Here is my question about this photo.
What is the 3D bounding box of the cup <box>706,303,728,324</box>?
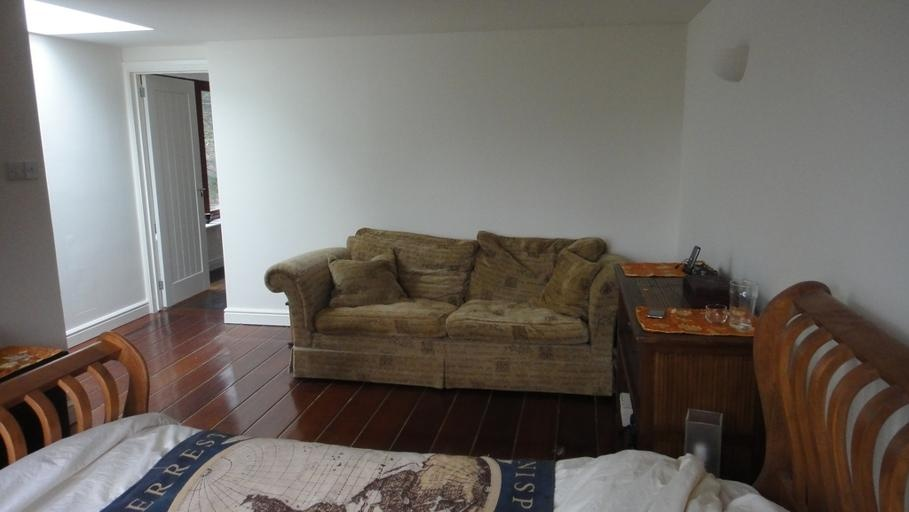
[{"bbox_3d":[1.531,0.337,3.309,0.107,0.082,0.113,0,-2,0],"label":"cup"}]
